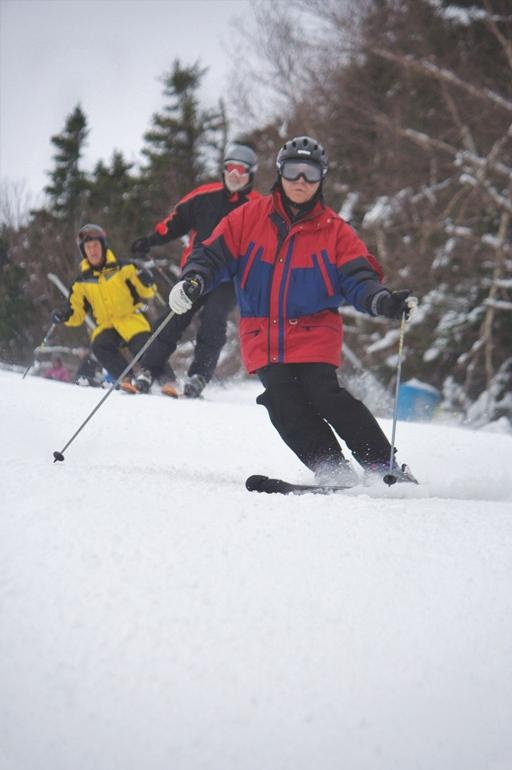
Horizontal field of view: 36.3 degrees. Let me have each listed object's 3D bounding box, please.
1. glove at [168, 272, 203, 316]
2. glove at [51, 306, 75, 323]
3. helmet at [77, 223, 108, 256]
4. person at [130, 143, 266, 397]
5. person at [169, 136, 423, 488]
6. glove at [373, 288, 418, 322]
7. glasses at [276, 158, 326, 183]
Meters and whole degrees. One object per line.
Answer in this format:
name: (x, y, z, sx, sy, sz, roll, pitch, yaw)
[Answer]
glove: (-0.234, -0.306, 2.775, 0.064, 0.140, 0.104, 42, 15, -30)
glove: (-1.250, -0.449, 5.032, 0.079, 0.121, 0.249, 3, 14, 7)
helmet: (-1.052, -0.951, 5.038, 0.152, 0.193, 0.193, -6, -19, -1)
person: (-0.226, -0.643, 4.820, 0.833, 1.725, 0.502, -7, 37, -18)
person: (0.141, -0.291, 2.769, 0.812, 1.125, 0.440, 9, 16, 27)
glove: (0.438, -0.281, 2.626, 0.146, 0.100, 0.180, 14, 14, 3)
glasses: (0.163, -0.755, 2.781, 0.161, 0.073, 0.108, 2, 14, 2)
